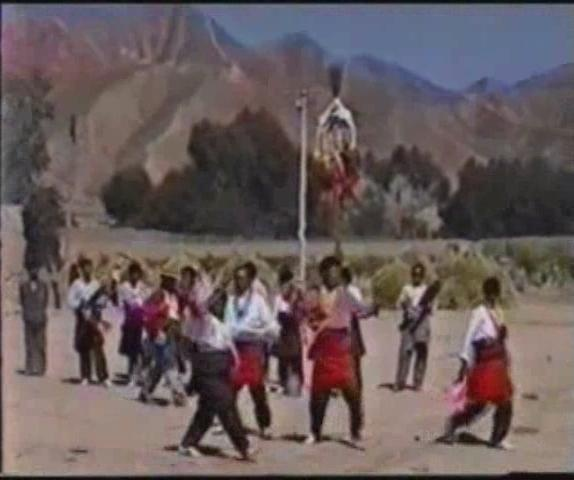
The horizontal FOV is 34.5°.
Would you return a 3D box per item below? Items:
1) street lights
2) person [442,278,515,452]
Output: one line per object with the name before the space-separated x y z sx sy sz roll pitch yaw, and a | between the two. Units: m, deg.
street lights | 0.171 -0.680 11.395 0.193 1.706 0.050 2 -1 -2
person | 2.374 1.500 11.290 0.834 2.093 0.328 2 -1 5
